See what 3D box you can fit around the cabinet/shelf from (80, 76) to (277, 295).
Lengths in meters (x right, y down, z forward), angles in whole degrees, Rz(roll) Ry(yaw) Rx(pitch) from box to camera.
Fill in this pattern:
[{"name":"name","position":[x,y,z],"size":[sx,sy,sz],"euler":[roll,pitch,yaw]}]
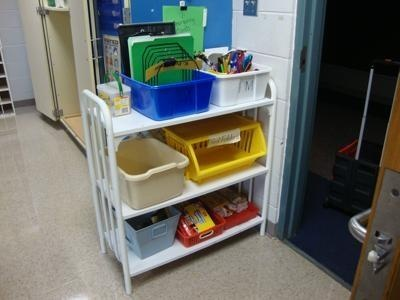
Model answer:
[{"name":"cabinet/shelf","position":[-0.120,0.229,1.896],"size":[0.981,1.052,0.397],"euler":[-19,34,-33]}]

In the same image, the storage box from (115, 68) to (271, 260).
[{"name":"storage box","position":[-0.070,-0.121,2.239],"size":[1.204,0.626,0.962],"euler":[-21,34,-30]}]
